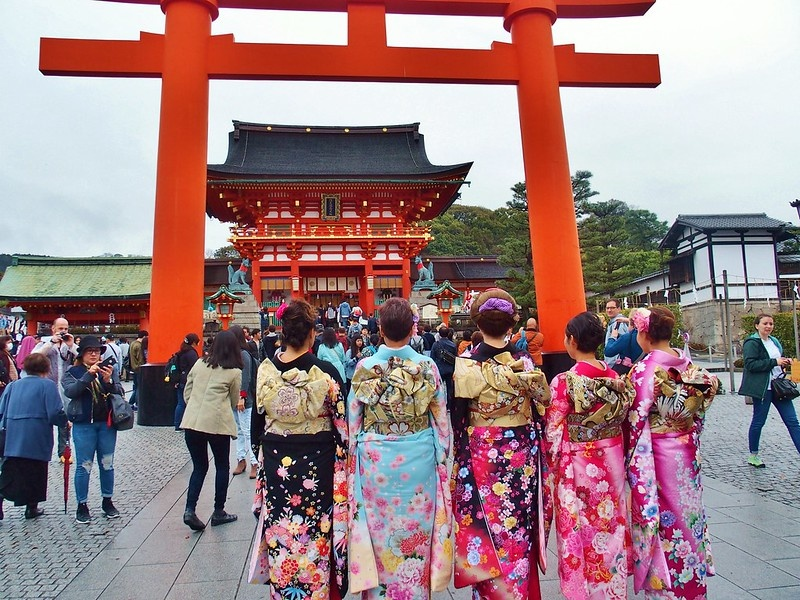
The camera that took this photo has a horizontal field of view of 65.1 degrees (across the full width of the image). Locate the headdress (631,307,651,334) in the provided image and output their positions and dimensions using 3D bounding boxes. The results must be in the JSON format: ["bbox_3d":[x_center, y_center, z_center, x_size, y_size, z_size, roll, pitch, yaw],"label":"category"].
[{"bbox_3d":[1.910,0.162,4.979,0.127,0.196,0.165,-1,3,21],"label":"headdress"}]
